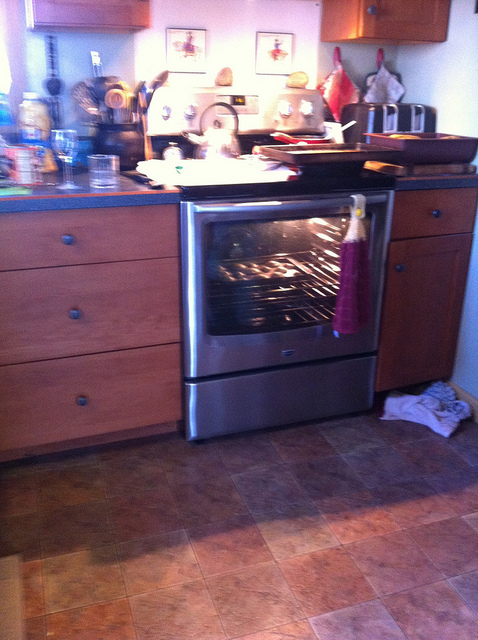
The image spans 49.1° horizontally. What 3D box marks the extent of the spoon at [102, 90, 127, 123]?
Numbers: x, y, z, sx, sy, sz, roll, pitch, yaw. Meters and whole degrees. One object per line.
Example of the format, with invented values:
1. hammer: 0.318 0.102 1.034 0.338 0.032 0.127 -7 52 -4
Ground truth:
1. spoon: -0.427 -0.715 1.751 0.049 0.097 0.148 -15 27 -31

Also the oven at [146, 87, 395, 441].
1. oven: 0.011 -0.183 1.948 0.986 1.179 0.691 -6 24 -23

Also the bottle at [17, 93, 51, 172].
1. bottle: -0.673 -0.618 1.720 0.111 0.236 0.232 -8 24 -19

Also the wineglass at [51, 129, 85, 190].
1. wineglass: -0.506 -0.479 1.532 0.107 0.189 0.101 9 23 -2

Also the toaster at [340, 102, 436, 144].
1. toaster: 0.606 -0.759 2.135 0.364 0.209 0.241 -4 21 -10

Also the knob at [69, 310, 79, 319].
1. knob: -0.448 -0.017 1.430 0.022 0.021 0.021 9 22 9

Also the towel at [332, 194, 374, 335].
1. towel: 0.355 -0.164 1.621 0.182 0.401 0.111 -6 15 -27

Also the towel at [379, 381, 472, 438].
1. towel: 0.717 0.316 2.003 0.321 0.142 0.304 -6 21 -20

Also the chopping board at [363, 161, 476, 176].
1. chopping board: 0.620 -0.511 1.774 0.185 0.017 0.177 -9 19 -29

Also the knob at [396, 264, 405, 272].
1. knob: 0.554 -0.177 1.783 0.043 0.030 0.011 -18 29 -37

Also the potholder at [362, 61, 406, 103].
1. potholder: 0.621 -0.989 2.223 0.168 0.193 0.138 -6 24 -19

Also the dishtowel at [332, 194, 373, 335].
1. dishtowel: 0.364 -0.166 1.610 0.114 0.415 0.137 3 29 14

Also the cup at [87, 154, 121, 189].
1. cup: -0.381 -0.422 1.476 0.087 0.076 0.152 -5 23 -14

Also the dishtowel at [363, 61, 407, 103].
1. dishtowel: 0.620 -1.030 2.251 0.193 0.050 0.213 -40 45 -21

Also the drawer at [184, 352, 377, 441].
1. drawer: 0.051 0.167 2.033 0.793 0.270 0.534 -6 21 -23

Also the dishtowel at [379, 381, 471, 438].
1. dishtowel: 0.715 0.314 2.008 0.325 0.142 0.307 -6 20 -19

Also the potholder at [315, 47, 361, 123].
1. potholder: 0.422 -0.985 2.189 0.201 0.291 0.037 -4 14 -6

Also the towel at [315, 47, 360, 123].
1. towel: 0.418 -0.955 2.189 0.169 0.311 0.156 -4 25 -11

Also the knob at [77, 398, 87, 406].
1. knob: -0.461 0.240 1.540 0.021 0.020 0.005 18 -1 -40

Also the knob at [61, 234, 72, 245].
1. knob: -0.441 -0.207 1.342 0.020 0.019 0.025 9 14 13
